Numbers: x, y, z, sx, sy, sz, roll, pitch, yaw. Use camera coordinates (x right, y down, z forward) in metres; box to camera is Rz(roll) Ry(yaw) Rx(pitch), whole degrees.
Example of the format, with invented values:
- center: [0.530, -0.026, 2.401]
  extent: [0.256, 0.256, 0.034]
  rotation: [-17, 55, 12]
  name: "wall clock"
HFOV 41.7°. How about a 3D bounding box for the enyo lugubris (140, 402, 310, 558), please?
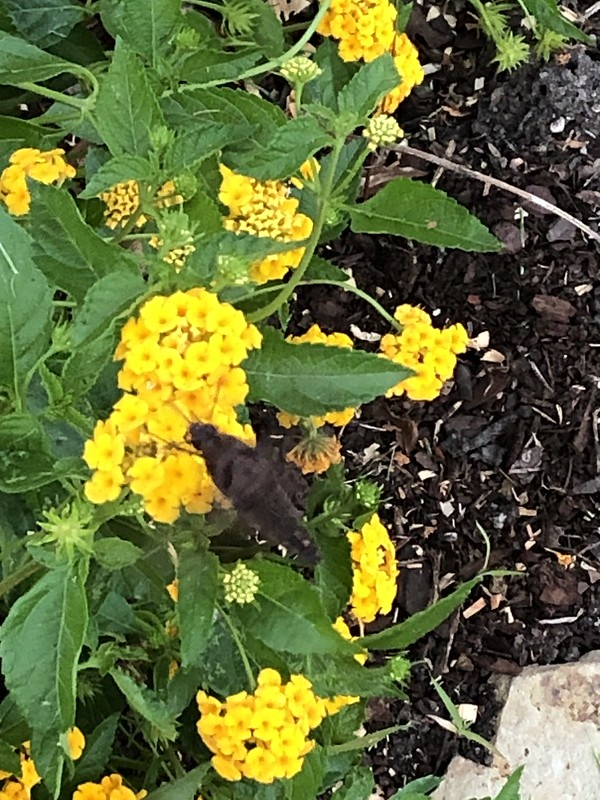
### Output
- center: [-0.078, 0.108, 1.161]
  extent: [0.124, 0.337, 0.035]
  rotation: [-35, 39, 10]
  name: "enyo lugubris"
